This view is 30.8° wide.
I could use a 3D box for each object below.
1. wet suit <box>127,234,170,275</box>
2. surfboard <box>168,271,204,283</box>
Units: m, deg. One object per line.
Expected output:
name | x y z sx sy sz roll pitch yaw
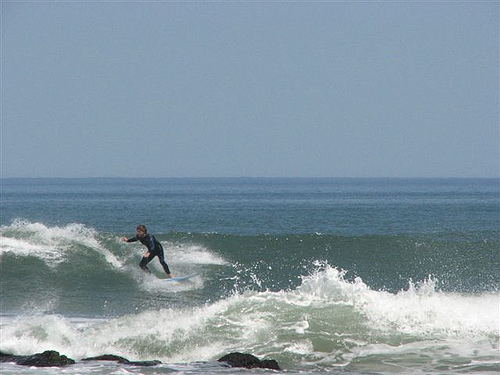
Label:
wet suit | -3.405 2.311 31.631 1.287 1.637 1.080 -1 11 -11
surfboard | -2.176 3.122 32.031 0.558 0.192 1.705 7 11 26
